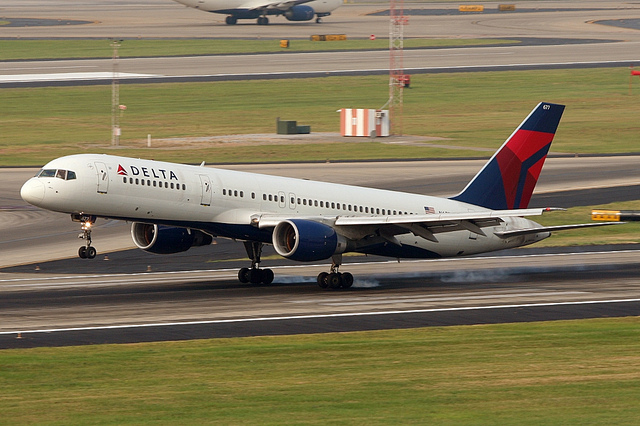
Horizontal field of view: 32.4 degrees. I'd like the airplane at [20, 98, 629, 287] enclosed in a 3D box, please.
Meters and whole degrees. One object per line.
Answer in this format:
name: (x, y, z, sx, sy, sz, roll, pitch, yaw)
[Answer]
airplane: (-3.125, -2.850, 92.534, 74.603, 10.585, 20.508, 0, 4, -3)
